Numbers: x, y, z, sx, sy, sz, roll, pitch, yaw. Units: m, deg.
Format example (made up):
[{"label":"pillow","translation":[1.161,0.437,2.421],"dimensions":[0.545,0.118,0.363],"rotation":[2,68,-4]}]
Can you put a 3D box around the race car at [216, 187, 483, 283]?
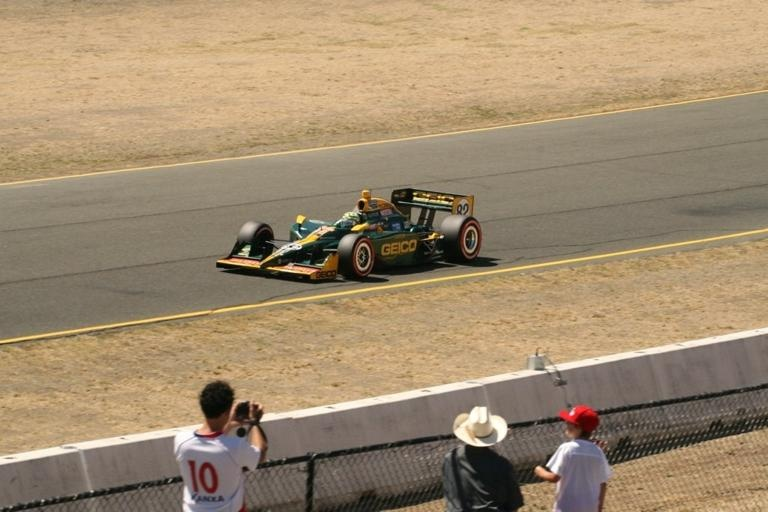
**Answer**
[{"label":"race car","translation":[-0.541,-0.597,39.464],"dimensions":[5.868,2.055,2.121],"rotation":[-8,25,-17]}]

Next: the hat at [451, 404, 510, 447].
[{"label":"hat","translation":[1.769,3.118,29.574],"dimensions":[0.946,0.696,0.561],"rotation":[-1,26,3]}]
